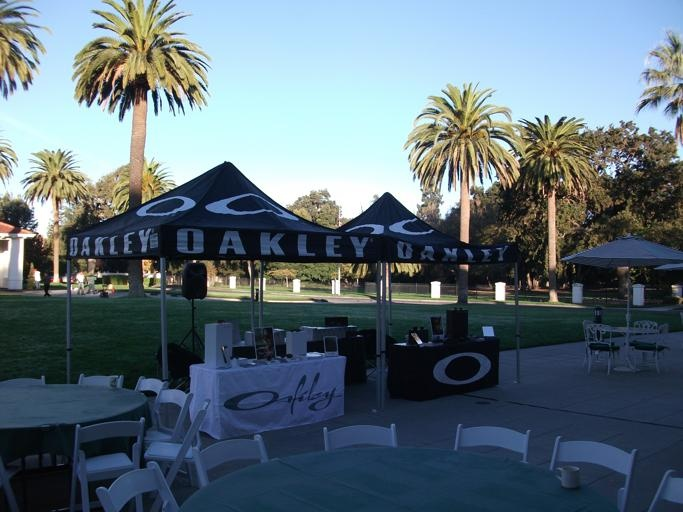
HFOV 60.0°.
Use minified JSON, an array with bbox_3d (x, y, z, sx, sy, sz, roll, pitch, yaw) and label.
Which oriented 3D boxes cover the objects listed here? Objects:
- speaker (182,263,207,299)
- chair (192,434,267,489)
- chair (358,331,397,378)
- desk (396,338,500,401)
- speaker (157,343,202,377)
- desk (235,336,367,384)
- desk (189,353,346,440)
[{"bbox_3d":[-2.852,0.462,11.465,0.425,0.730,0.386,1,13,-23],"label":"speaker"},{"bbox_3d":[-0.957,1.852,5.151,0.600,0.485,0.335,0,-6,-35],"label":"chair"},{"bbox_3d":[0.735,2.262,13.660,0.888,1.175,1.012,-2,-15,17],"label":"chair"},{"bbox_3d":[2.166,2.161,11.772,2.325,1.041,0.706,-2,2,-28],"label":"desk"},{"bbox_3d":[-3.143,1.951,11.297,0.777,0.804,0.211,10,-7,-31],"label":"speaker"},{"bbox_3d":[-0.756,1.726,9.975,1.230,0.512,1.219,3,-7,-39],"label":"desk"},{"bbox_3d":[-1.088,2.154,9.649,2.668,1.044,0.910,2,6,-37],"label":"desk"}]
